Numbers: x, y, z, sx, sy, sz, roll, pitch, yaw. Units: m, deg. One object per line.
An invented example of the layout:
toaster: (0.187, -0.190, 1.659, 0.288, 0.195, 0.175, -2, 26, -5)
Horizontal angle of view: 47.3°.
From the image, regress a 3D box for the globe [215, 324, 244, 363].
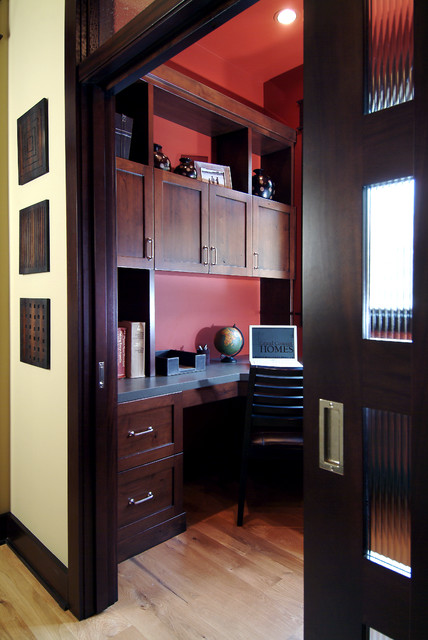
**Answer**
globe: (0.100, 0.161, 2.908, 0.144, 0.272, 0.159, 7, -7, -23)

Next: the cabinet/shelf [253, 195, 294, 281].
cabinet/shelf: (0.372, -0.507, 3.073, 0.123, 0.526, 0.355, 3, 4, 38)
